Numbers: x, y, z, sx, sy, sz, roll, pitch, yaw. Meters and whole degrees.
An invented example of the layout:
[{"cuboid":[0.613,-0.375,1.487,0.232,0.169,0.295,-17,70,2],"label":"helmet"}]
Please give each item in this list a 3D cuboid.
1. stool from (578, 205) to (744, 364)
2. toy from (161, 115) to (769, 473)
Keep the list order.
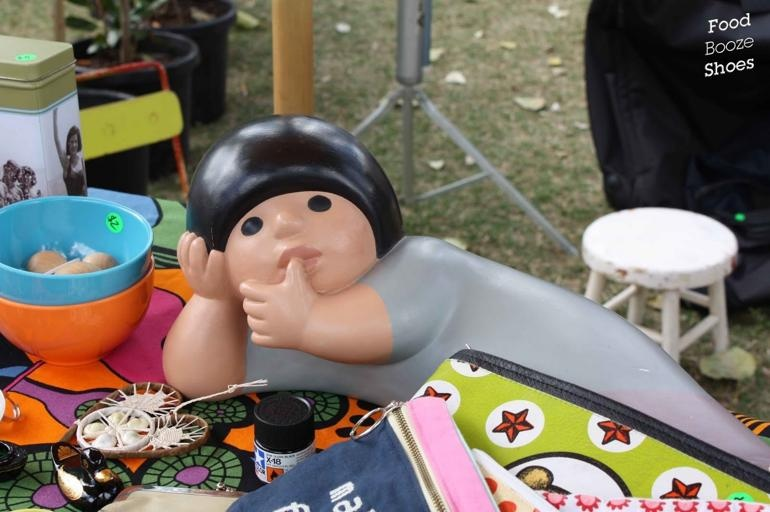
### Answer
[{"cuboid":[0.679,0.118,1.983,0.336,0.386,0.339,18,37,39],"label":"stool"},{"cuboid":[0.071,0.080,1.207,0.747,0.326,0.493,4,9,-12],"label":"toy"}]
